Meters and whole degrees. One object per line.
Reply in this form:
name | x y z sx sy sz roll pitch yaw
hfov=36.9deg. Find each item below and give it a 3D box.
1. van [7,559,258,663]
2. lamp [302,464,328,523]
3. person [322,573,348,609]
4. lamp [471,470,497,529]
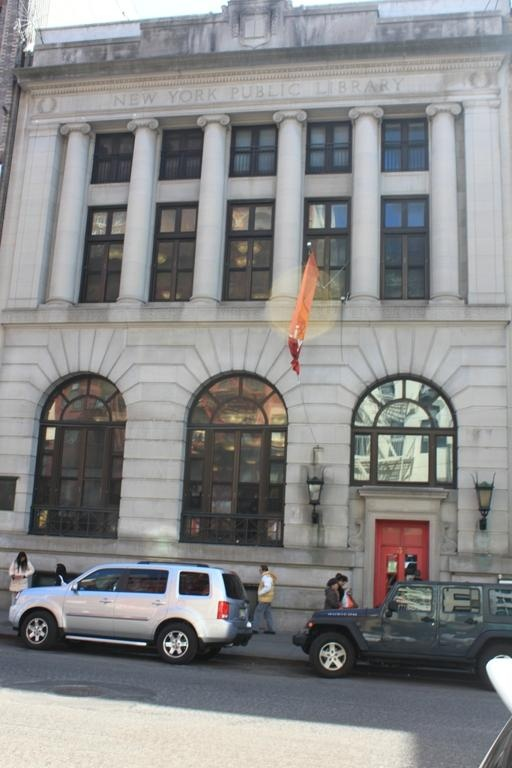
van | -2.170 3.963 13.916 3.977 1.440 1.788 2 -19 12
lamp | 1.455 2.738 19.120 0.466 1.442 0.623 3 -16 4
person | 1.718 4.495 16.645 0.479 0.528 1.353 -9 -28 -5
lamp | 5.453 2.787 18.354 0.493 1.364 0.588 -1 -16 16
